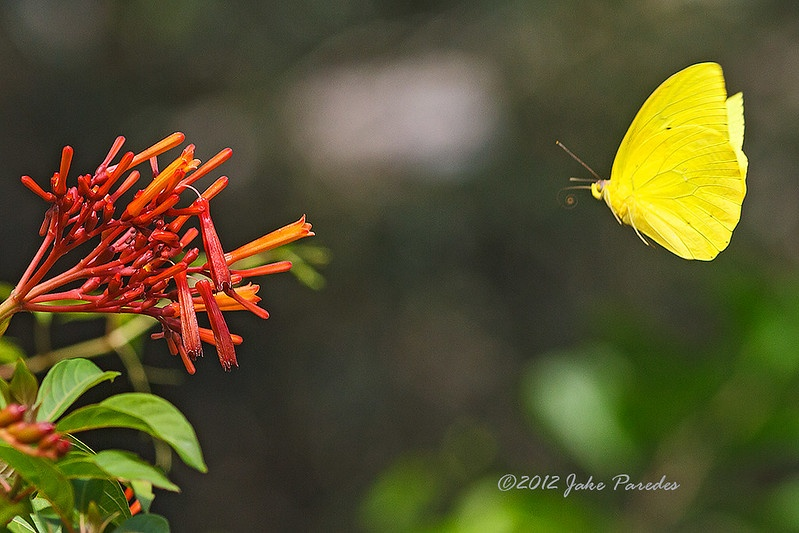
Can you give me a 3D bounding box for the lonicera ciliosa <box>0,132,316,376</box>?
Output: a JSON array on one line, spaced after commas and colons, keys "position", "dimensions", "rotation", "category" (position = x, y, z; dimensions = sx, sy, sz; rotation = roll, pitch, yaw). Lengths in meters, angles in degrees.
[{"position": [-0.582, -0.029, 1.935], "dimensions": [0.731, 0.606, 0.268], "rotation": [-15, -15, 4], "category": "lonicera ciliosa"}]
